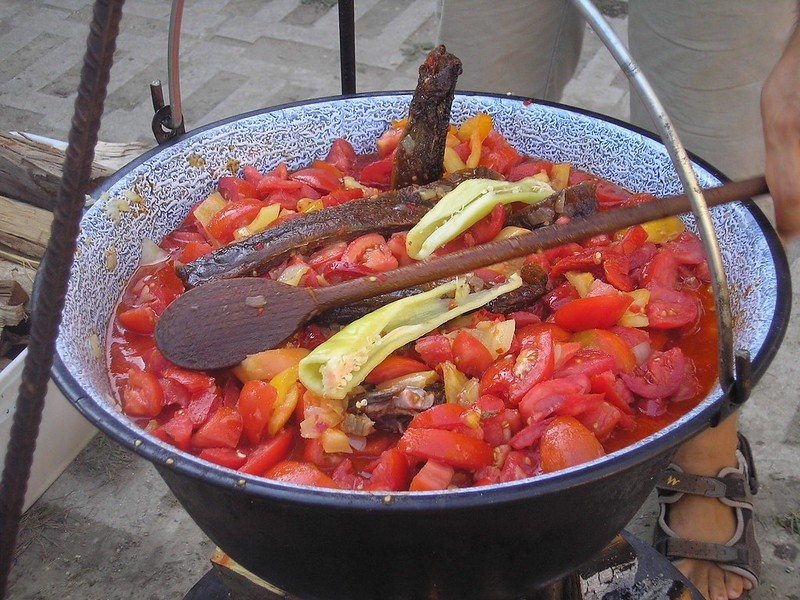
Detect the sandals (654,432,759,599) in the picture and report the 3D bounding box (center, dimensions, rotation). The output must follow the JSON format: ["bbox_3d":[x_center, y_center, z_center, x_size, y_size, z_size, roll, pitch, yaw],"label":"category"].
[{"bbox_3d":[1.114,0.771,3.101,0.310,0.250,0.623,-4,59,27],"label":"sandals"}]
